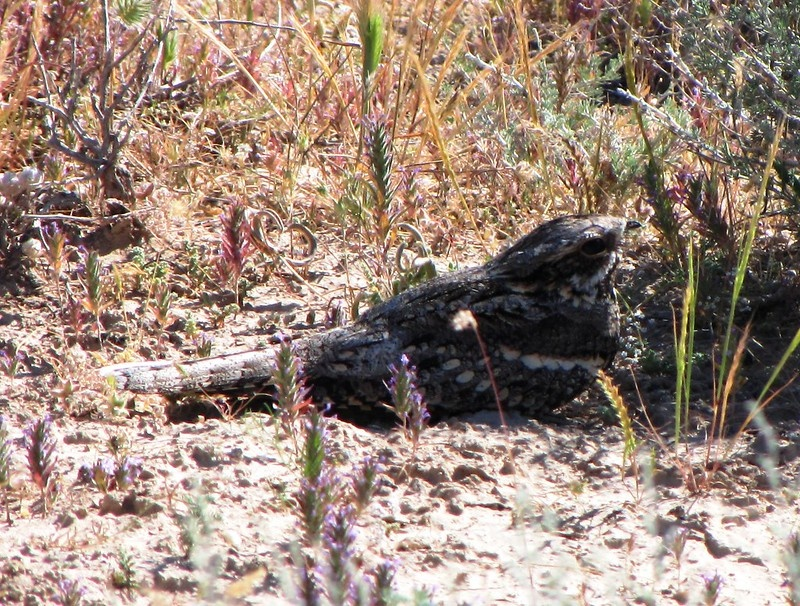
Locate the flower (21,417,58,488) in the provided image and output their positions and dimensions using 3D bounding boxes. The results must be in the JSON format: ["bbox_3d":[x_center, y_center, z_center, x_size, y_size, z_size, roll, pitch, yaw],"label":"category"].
[{"bbox_3d":[-1.371,0.555,3.816,0.100,0.302,0.232,-2,16,-21],"label":"flower"}]

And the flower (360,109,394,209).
[{"bbox_3d":[-0.109,-0.705,5.060,0.157,0.446,0.350,3,15,-2],"label":"flower"}]

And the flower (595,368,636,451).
[{"bbox_3d":[0.998,0.508,4.674,0.101,0.367,0.107,-27,14,-31],"label":"flower"}]
